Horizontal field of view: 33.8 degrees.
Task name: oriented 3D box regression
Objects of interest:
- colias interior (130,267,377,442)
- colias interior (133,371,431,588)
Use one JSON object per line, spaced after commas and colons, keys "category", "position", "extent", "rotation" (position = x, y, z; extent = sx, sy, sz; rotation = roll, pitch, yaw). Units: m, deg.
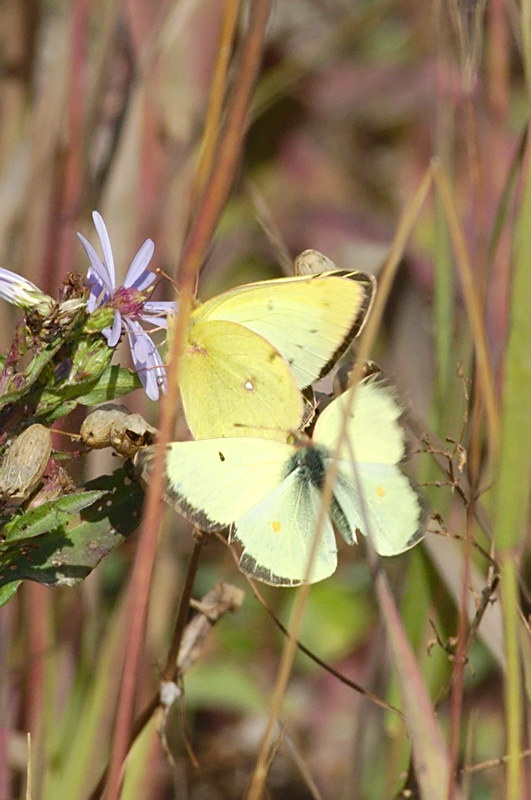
{"category": "colias interior", "position": [-0.008, -0.099, 1.244], "extent": [0.267, 0.127, 0.244], "rotation": [-11, 55, -32]}
{"category": "colias interior", "position": [0.054, 0.065, 1.031], "extent": [0.146, 0.290, 0.259], "rotation": [-30, 57, 28]}
